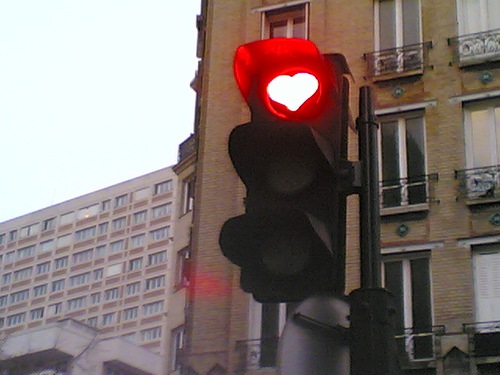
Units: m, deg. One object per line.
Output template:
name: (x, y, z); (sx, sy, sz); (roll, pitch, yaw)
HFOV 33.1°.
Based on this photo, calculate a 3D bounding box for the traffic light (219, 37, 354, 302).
traffic light: (0.285, -0.168, 7.330); (0.845, 2.210, 1.193); (14, -23, -34)
